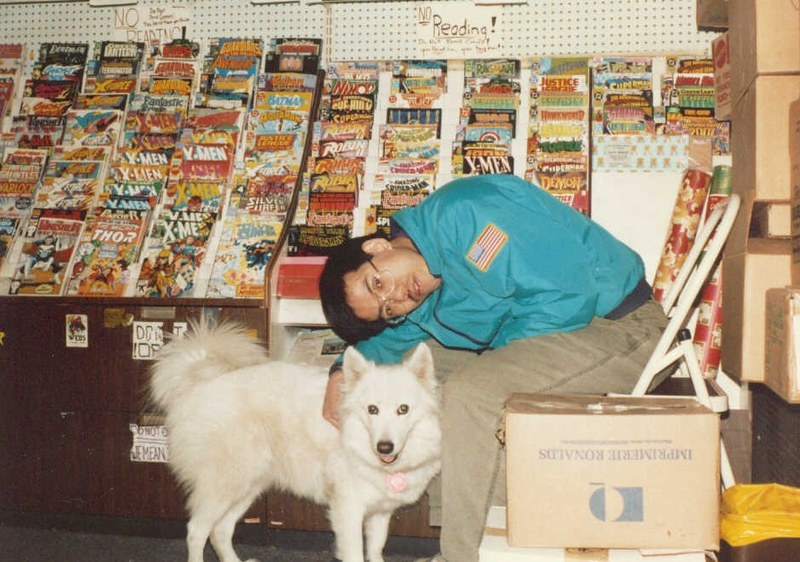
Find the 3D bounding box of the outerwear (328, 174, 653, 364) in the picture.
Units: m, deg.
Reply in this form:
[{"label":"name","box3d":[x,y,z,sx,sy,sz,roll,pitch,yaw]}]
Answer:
[{"label":"outerwear","box3d":[0.514,-0.116,5.490,1.362,0.732,1.012,-15,32,-4]}]

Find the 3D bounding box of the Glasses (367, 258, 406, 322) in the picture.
[{"label":"Glasses","box3d":[-0.093,0.075,5.430,0.076,0.262,0.262,-15,28,-5]}]

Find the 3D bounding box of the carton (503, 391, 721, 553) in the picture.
[{"label":"carton","box3d":[0.968,0.903,4.710,1.028,0.632,0.696,0,3,5]}]
